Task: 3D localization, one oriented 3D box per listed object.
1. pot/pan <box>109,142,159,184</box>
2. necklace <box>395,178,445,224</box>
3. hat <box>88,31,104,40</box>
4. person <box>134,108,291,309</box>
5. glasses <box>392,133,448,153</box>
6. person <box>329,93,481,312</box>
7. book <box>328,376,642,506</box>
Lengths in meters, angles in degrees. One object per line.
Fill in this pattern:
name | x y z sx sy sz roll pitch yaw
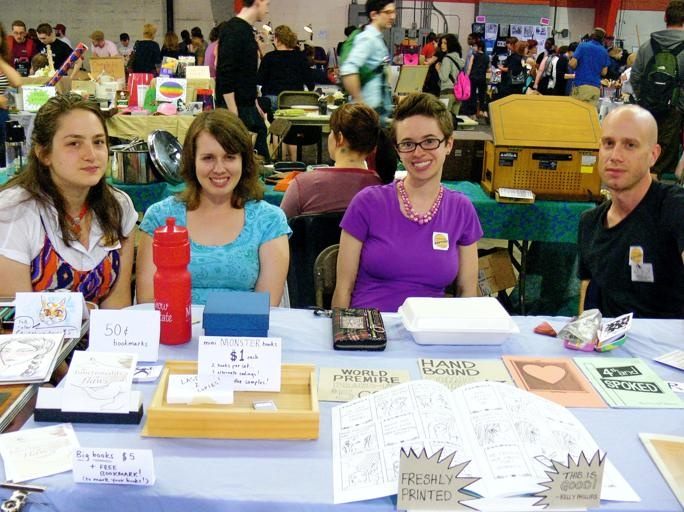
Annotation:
pot/pan | -1.431 -0.617 3.664 0.289 0.219 0.294 4 21 9
necklace | 0.330 -0.225 2.226 0.206 0.162 0.117 4 15 8
hat | -5.118 -4.592 10.921 0.214 0.210 0.380 -6 18 -26
person | -0.546 -0.120 2.244 0.640 1.002 0.481 4 19 -7
glasses | 0.337 -0.473 2.227 0.211 0.070 0.106 5 16 10
person | 0.291 -0.222 2.239 0.642 0.911 0.347 -4 16 -19
book | 0.281 0.411 1.189 0.621 0.130 0.313 3 16 2
